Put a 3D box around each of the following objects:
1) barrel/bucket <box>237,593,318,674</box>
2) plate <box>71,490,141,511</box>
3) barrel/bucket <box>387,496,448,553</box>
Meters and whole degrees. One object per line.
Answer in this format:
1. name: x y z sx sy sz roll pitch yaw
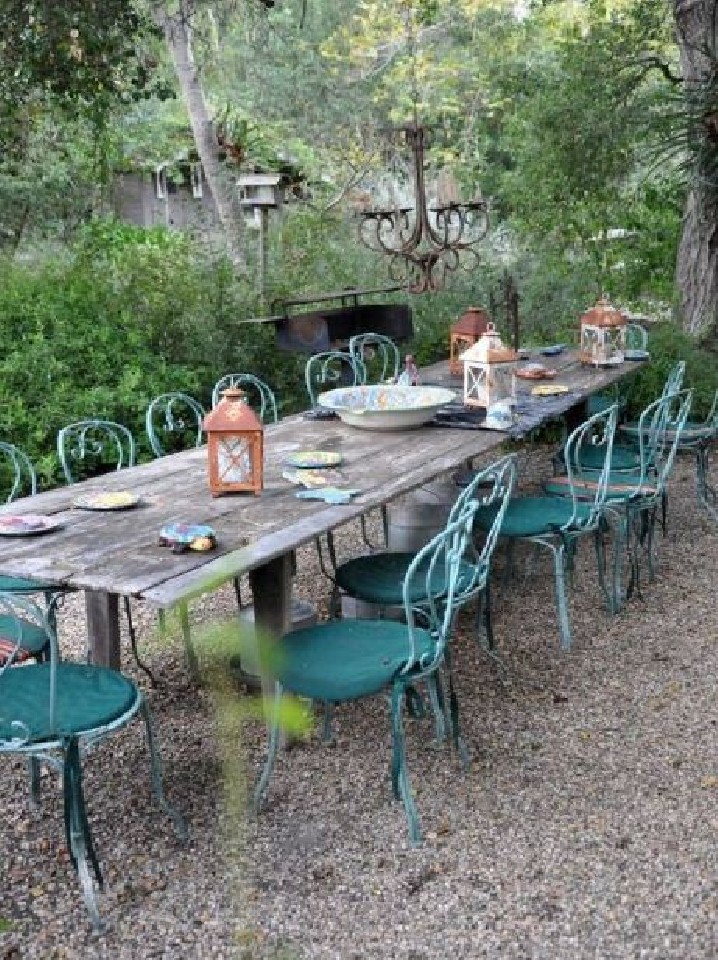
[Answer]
1. barrel/bucket: -0.227 0.476 2.647 0.274 0.239 0.266 0 6 0
2. plate: -0.644 0.052 2.225 0.163 0.032 0.132 -3 12 -1
3. barrel/bucket: 0.220 0.173 3.311 0.196 0.137 0.193 0 -2 0
